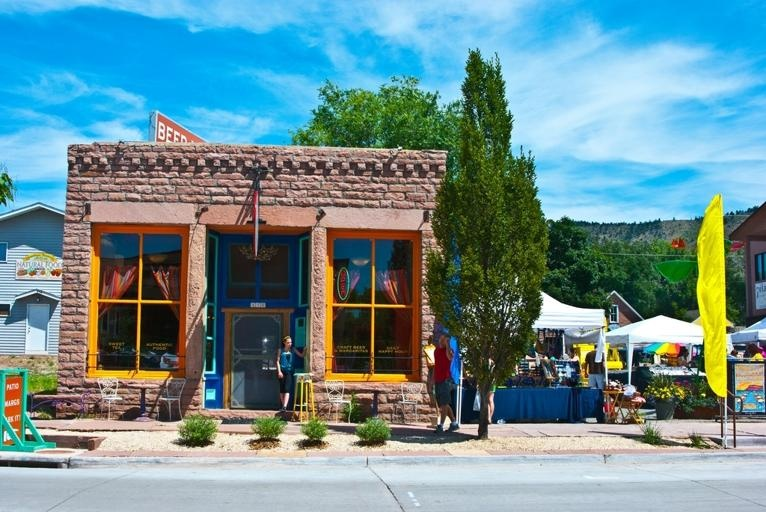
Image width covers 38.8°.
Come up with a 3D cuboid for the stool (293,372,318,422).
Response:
[{"bbox_3d":[-2.312,4.176,32.433,0.693,1.449,1.070,1,-12,-5],"label":"stool"}]

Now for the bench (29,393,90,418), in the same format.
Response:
[{"bbox_3d":[-9.616,4.401,32.315,1.673,0.725,0.776,-2,-13,12],"label":"bench"}]

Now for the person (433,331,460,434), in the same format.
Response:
[{"bbox_3d":[1.799,3.629,31.406,0.713,2.835,1.491,0,-12,3],"label":"person"}]

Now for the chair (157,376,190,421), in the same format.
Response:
[{"bbox_3d":[-6.271,4.210,32.277,0.841,1.277,0.449,3,-12,-11],"label":"chair"}]

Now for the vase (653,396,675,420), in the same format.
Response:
[{"bbox_3d":[8.877,4.801,34.375,0.661,0.509,0.619,0,-10,17],"label":"vase"}]

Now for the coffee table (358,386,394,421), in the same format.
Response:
[{"bbox_3d":[-0.265,4.405,32.460,1.028,0.947,0.181,1,-16,-2],"label":"coffee table"}]

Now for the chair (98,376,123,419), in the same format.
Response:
[{"bbox_3d":[-8.103,4.174,32.204,0.746,1.220,0.417,2,-12,-5],"label":"chair"}]

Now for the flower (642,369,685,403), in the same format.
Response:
[{"bbox_3d":[8.922,4.128,34.465,0.911,0.669,0.939,4,-5,-42],"label":"flower"}]

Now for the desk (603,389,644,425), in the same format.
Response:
[{"bbox_3d":[7.509,4.763,34.321,1.258,1.130,1.000,-5,-7,23],"label":"desk"}]

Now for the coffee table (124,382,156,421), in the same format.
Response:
[{"bbox_3d":[-7.216,4.300,32.391,0.980,1.048,0.968,2,-6,-11],"label":"coffee table"}]

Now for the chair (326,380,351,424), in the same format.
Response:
[{"bbox_3d":[-1.339,4.275,32.465,0.821,1.187,0.429,0,-12,3],"label":"chair"}]

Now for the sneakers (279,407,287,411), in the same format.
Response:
[{"bbox_3d":[-3.007,4.594,32.877,0.183,0.090,0.255,1,-8,-2],"label":"sneakers"}]
